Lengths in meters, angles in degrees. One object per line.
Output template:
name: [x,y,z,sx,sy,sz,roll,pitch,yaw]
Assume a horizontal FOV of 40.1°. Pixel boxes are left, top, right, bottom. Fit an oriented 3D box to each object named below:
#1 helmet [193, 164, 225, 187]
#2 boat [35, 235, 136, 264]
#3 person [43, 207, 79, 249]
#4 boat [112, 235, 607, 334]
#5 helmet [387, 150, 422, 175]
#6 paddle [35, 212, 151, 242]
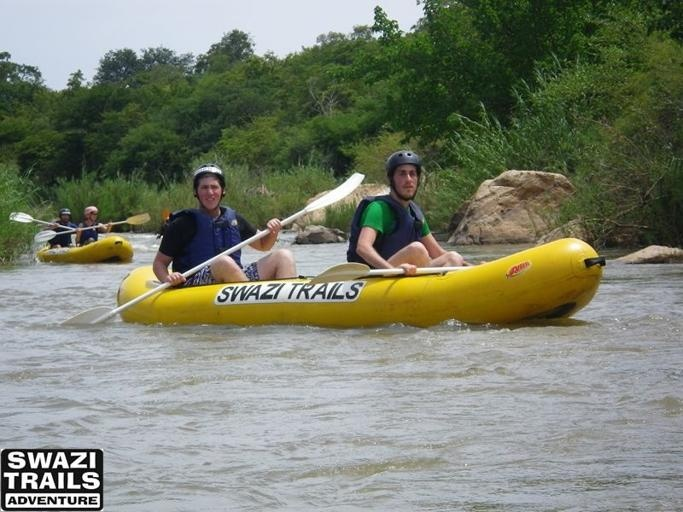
helmet: [-1.182,-0.707,8.325,0.220,0.225,0.145,0,4,-4]
boat: [-4.458,-0.057,15.760,1.342,0.255,0.628,-8,-6,32]
person: [-5.195,-0.255,17.521,0.652,1.182,0.455,-2,-4,-15]
boat: [0.056,0.414,7.973,4.120,0.565,1.186,-5,-6,20]
helmet: [0.538,-0.792,8.077,0.233,0.248,0.226,-1,33,-10]
paddle: [-5.356,-0.620,20.243,2.877,0.359,0.318,-11,-29,23]
